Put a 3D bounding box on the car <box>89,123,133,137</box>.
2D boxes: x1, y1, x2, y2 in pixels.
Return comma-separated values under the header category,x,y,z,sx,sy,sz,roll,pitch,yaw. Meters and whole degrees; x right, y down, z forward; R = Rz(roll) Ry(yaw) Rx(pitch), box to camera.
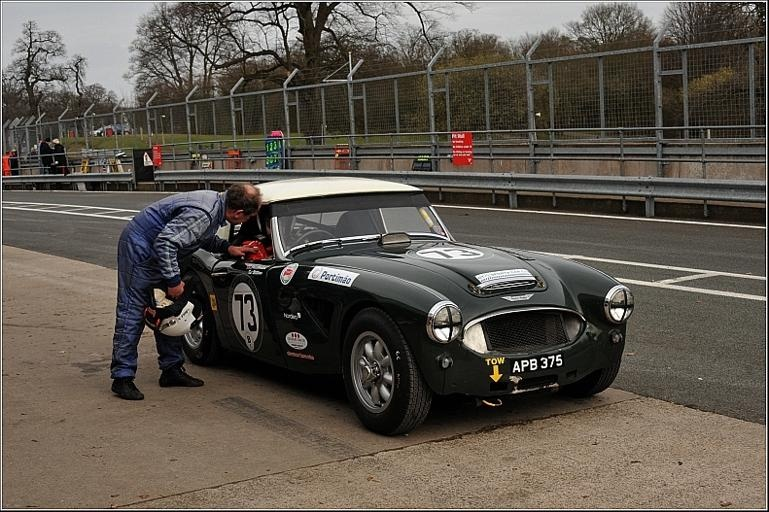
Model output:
category,x,y,z,sx,sy,sz,roll,pitch,yaw
car,-17.996,-8.340,41.418,2.507,0.771,1.476,5,8,25
